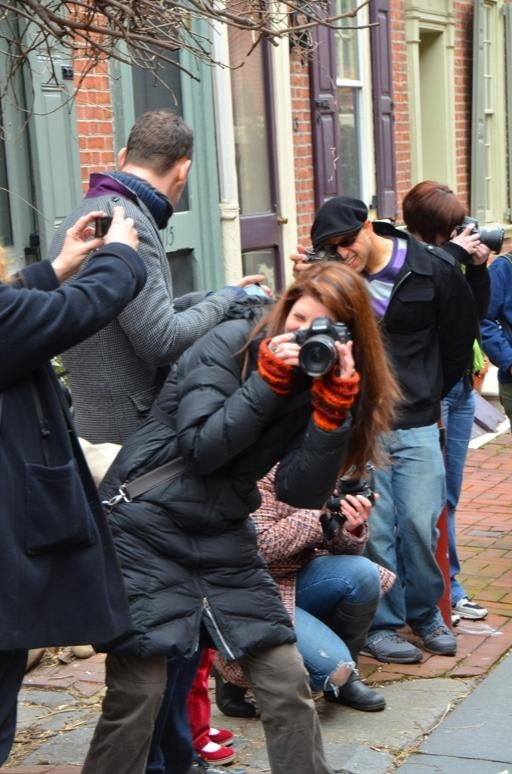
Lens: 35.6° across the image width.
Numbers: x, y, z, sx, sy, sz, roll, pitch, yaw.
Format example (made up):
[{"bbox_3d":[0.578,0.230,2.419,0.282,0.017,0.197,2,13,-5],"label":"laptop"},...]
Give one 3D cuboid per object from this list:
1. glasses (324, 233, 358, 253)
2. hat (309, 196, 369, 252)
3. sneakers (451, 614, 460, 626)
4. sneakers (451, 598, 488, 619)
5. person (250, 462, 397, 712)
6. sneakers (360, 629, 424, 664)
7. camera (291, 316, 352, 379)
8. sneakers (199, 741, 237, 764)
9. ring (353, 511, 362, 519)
[{"bbox_3d":[0.357,-0.606,3.377,0.094,0.051,0.107,-16,14,-20],"label":"glasses"},{"bbox_3d":[0.346,-0.697,3.360,0.194,0.124,0.248,-25,3,34],"label":"hat"},{"bbox_3d":[0.984,1.157,3.957,0.039,0.048,0.112,6,22,10],"label":"sneakers"},{"bbox_3d":[1.074,1.135,4.032,0.194,0.082,0.073,4,10,20],"label":"sneakers"},{"bbox_3d":[0.176,0.676,3.013,0.628,1.012,0.533,-2,-7,34],"label":"person"},{"bbox_3d":[0.604,1.162,3.576,0.252,0.097,0.110,0,0,30],"label":"sneakers"},{"bbox_3d":[0.142,-0.097,1.860,0.180,0.103,0.186,-5,19,-3],"label":"camera"},{"bbox_3d":[-0.130,1.210,2.607,0.152,0.055,0.055,0,13,-12],"label":"sneakers"},{"bbox_3d":[0.369,0.471,2.919,0.030,0.026,0.009,-9,12,-27],"label":"ring"}]
